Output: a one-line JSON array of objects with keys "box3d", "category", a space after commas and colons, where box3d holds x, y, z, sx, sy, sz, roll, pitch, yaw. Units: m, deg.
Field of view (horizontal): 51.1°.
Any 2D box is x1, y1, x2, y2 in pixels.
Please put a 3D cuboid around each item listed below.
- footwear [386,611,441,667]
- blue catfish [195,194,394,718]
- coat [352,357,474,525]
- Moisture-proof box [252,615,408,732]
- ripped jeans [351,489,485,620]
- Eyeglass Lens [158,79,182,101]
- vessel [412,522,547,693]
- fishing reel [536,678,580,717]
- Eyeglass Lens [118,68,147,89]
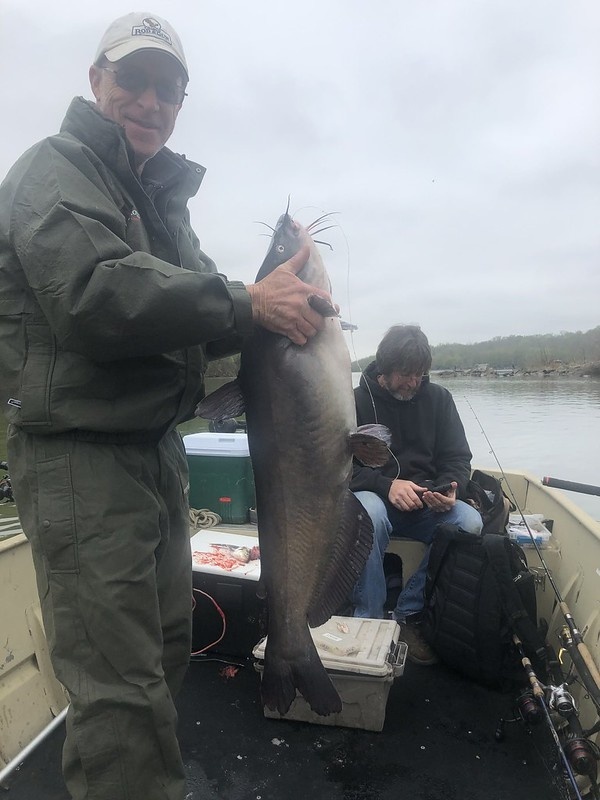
[{"box3d": [0.670, 1.372, 3.583, 0.160, 0.168, 0.440, -3, 11, -37], "category": "footwear"}, {"box3d": [0.010, 0.313, 2.844, 1.155, 2.215, 0.543, -4, 4, 11], "category": "blue catfish"}, {"box3d": [0.723, 0.216, 4.383, 0.944, 0.906, 0.532, 2, 34, 21], "category": "coat"}, {"box3d": [0.247, 1.260, 2.928, 0.704, 0.321, 0.547, 0, 7, 12], "category": "Moisture-proof box"}, {"box3d": [0.675, 0.887, 3.817, 0.938, 0.897, 0.342, 5, -10, 27], "category": "ripped jeans"}, {"box3d": [-0.452, -1.064, 2.156, 0.068, 0.033, 0.070, 45, 21, 30], "category": "Eyeglass Lens"}, {"box3d": [1.011, 1.151, 3.396, 0.465, 0.781, 0.777, -4, -6, -21], "category": "vessel"}, {"box3d": [1.086, 1.235, 2.608, 0.112, 0.060, 0.169, 3, -9, 15], "category": "fishing reel"}, {"box3d": [-0.561, -1.076, 2.086, 0.068, 0.024, 0.067, 13, 28, -25], "category": "Eyeglass Lens"}]
